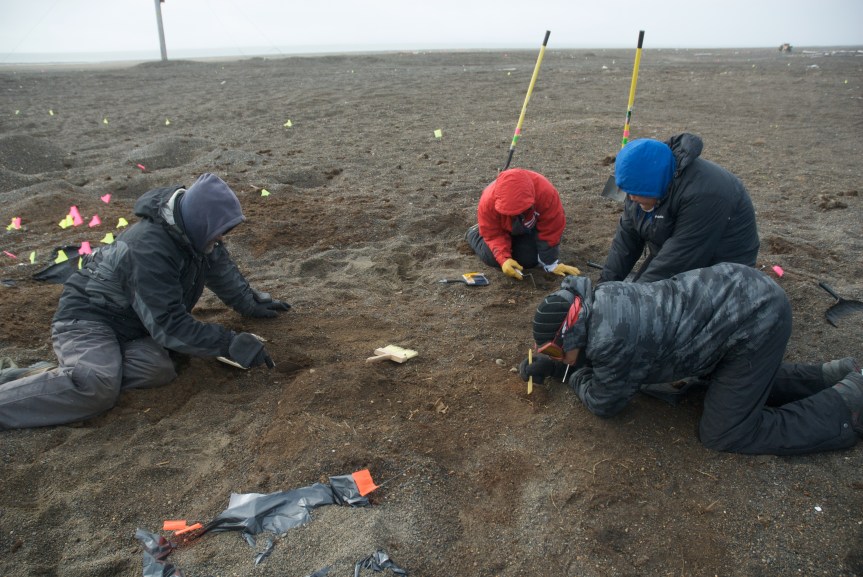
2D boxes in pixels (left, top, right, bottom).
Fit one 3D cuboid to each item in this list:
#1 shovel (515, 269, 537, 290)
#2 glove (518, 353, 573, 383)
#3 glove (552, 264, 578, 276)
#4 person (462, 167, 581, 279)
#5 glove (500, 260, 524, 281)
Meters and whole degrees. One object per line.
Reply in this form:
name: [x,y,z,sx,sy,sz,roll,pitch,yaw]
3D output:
shovel: [1.052,-0.114,6.754,0.152,0.235,0.103,-15,19,-15]
glove: [1.011,0.682,5.448,0.365,0.134,0.264,-1,17,-14]
glove: [1.472,-0.206,6.793,0.231,0.062,0.136,6,-4,-18]
person: [1.080,-0.805,6.949,1.349,1.091,1.181,7,39,29]
glove: [0.883,-0.218,6.738,0.182,0.253,0.108,33,89,31]
